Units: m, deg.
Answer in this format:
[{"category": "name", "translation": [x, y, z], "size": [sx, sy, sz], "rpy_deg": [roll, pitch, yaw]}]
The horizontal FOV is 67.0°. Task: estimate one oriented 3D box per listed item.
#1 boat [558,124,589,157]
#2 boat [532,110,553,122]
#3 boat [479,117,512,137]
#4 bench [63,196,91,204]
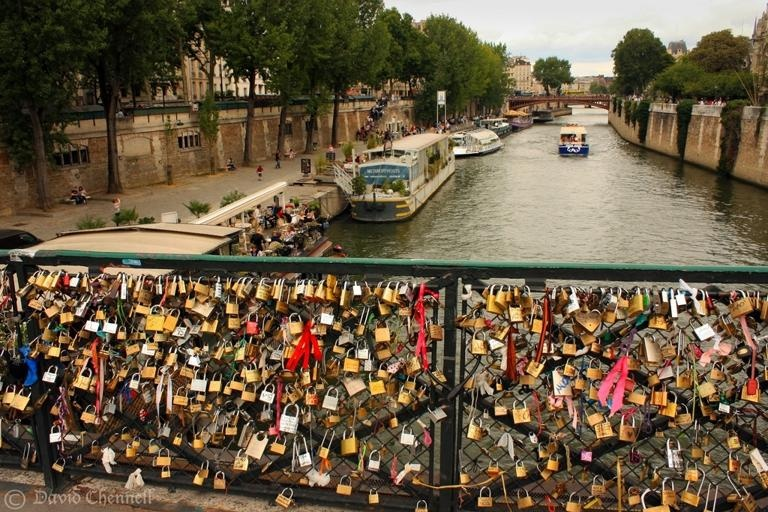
[{"category": "boat", "translation": [19.241, -11.566, 58.752], "size": [2.535, 2.896, 4.106], "rpy_deg": [2, 15, 16]}, {"category": "boat", "translation": [34.131, -29.691, 124.045], "size": [4.048, 2.232, 6.941], "rpy_deg": [2, 15, 15]}, {"category": "boat", "translation": [16.214, -18.009, 83.863], "size": [3.051, 2.516, 10.597], "rpy_deg": [8, 24, 22]}, {"category": "bench", "translation": [-15.789, -2.890, 30.030], "size": [0.540, 0.601, 1.106], "rpy_deg": [2, 8, 3]}]
